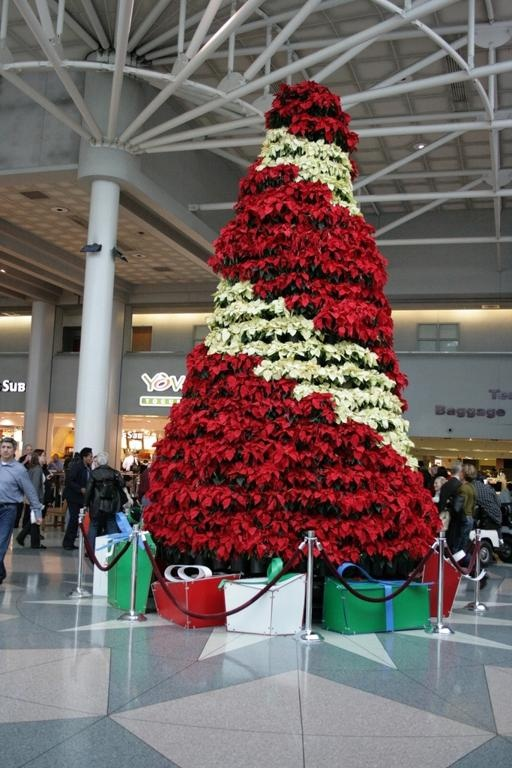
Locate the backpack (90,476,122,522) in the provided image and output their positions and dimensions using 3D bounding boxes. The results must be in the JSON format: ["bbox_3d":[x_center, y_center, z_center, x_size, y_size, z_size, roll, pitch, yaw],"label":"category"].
[{"bbox_3d":[-2.023,1.523,7.980,0.409,0.593,0.463,5,-13,-10],"label":"backpack"}]
